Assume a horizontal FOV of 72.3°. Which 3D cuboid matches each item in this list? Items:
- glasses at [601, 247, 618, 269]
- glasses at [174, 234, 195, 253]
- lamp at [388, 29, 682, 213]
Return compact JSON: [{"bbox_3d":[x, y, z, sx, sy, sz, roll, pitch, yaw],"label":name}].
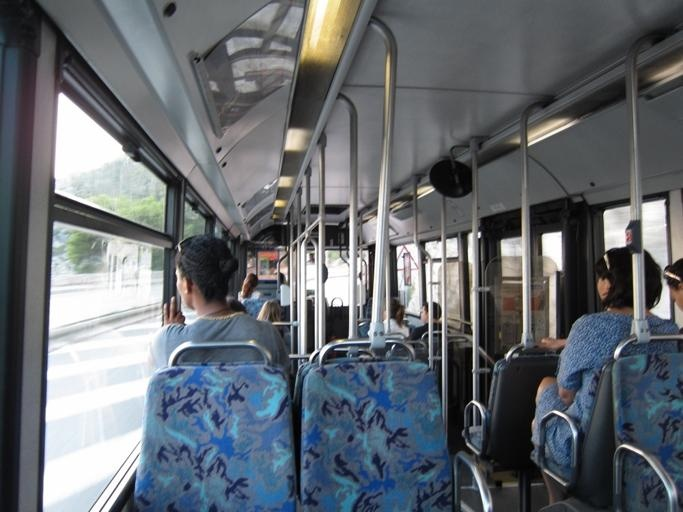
[{"bbox_3d":[1.638,0.008,2.862,0.080,0.113,0.116,3,22,5],"label":"glasses"},{"bbox_3d":[-0.975,-0.074,2.883,0.119,0.065,0.091,-38,2,9],"label":"glasses"},{"bbox_3d":[1.452,-0.989,3.409,0.114,0.257,1.693,-29,-4,-35],"label":"lamp"}]
